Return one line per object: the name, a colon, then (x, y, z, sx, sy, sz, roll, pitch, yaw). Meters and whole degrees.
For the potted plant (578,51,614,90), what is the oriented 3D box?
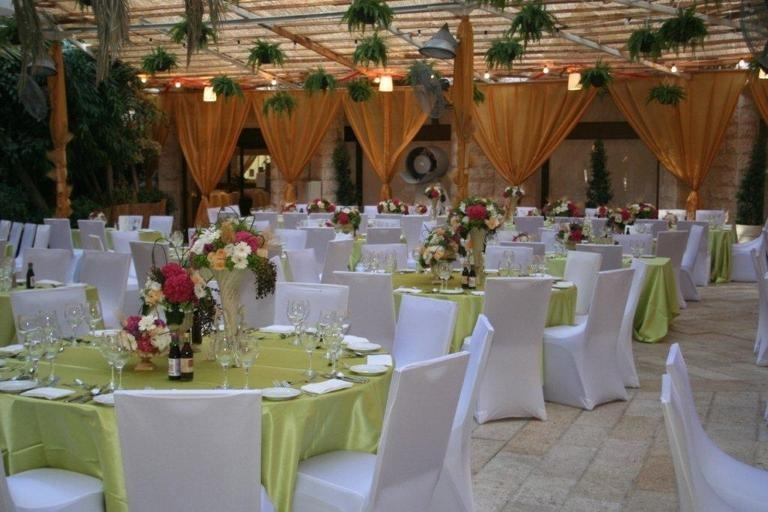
potted plant: (4.529, -3.828, 14.088, 0.685, 0.824, 0.716, 2, 6, 30)

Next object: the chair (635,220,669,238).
chair: (3.935, -0.395, 9.802, 0.345, 0.293, 0.355, 4, 7, 41)

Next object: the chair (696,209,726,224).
chair: (6.255, -0.738, 12.745, 0.444, 0.317, 0.476, 2, 6, 20)

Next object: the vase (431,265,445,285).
vase: (0.505, 0.181, 6.173, 0.142, 0.240, 0.146, -2, 5, 0)

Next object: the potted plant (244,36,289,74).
potted plant: (-2.211, -3.753, 12.268, 0.592, 0.603, 0.791, -1, 4, -16)

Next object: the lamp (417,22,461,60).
lamp: (0.855, -3.328, 10.171, 0.518, 0.608, 0.693, 1, 4, 12)

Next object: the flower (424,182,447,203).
flower: (0.930, -1.164, 12.068, 0.285, 0.334, 0.751, 1, 4, 9)

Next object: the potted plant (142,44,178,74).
potted plant: (-4.434, -3.894, 13.081, 0.610, 0.596, 1.111, -2, 4, -20)

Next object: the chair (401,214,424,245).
chair: (0.467, -0.439, 11.065, 0.491, 0.642, 0.453, 0, 4, 1)

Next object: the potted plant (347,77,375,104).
potted plant: (-0.520, -3.665, 14.893, 0.510, 0.446, 0.547, 2, 13, 0)

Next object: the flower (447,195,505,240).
flower: (0.869, -0.351, 6.295, 0.499, 0.388, 0.389, 1, 4, 11)

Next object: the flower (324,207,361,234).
flower: (-0.619, -0.528, 10.607, 0.483, 0.521, 0.478, 3, -1, -41)

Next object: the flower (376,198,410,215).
flower: (0.134, -0.929, 12.928, 0.461, 0.260, 0.493, 2, 3, 23)

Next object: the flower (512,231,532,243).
flower: (1.803, -0.225, 8.624, 0.180, 0.109, 0.191, 1, 4, 41)

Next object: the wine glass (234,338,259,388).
wine glass: (-0.772, 0.609, 3.730, 0.128, 0.376, 0.140, -4, 19, -14)

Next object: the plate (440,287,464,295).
plate: (0.614, 0.321, 5.983, 0.220, 0.032, 0.274, 0, 4, 8)

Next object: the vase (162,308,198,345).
vase: (-1.217, 0.408, 4.050, 0.193, 0.253, 0.200, -5, 8, -43)

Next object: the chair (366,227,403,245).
chair: (0.000, -0.277, 9.321, 0.475, 0.210, 0.170, -1, 4, -8)

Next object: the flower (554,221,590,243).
flower: (2.433, -0.284, 8.460, 0.576, 0.275, 0.318, -3, 5, -41)

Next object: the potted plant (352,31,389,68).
potted plant: (-0.248, -3.663, 11.607, 0.573, 0.691, 1.276, 0, 4, -4)

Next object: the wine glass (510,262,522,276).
wine glass: (1.331, 0.137, 6.594, 0.119, 0.172, 0.154, 0, 2, -7)

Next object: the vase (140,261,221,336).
vase: (-1.228, 0.218, 4.087, 0.368, 0.429, 0.383, 8, 6, -2)

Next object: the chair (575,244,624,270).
chair: (2.493, -0.002, 7.649, 0.487, 0.551, 0.285, 1, 1, 18)

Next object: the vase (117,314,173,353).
vase: (-1.374, 0.467, 3.822, 0.214, 0.171, 0.233, 11, -1, 15)

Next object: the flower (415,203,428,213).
flower: (0.744, -0.912, 13.172, 0.193, 0.182, 0.218, 3, 9, 2)

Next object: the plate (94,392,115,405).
plate: (-1.484, 0.764, 3.509, 0.095, 0.041, 0.187, -2, 4, -26)

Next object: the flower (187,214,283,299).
flower: (-0.888, -0.042, 4.073, 0.451, 0.456, 0.483, 10, 10, 10)

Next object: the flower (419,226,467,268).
flower: (0.553, -0.062, 6.287, 0.359, 0.323, 0.384, -5, 3, -16)

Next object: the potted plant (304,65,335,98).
potted plant: (-1.347, -3.707, 13.912, 0.658, 0.556, 0.523, 4, 6, 41)

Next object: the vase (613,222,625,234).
vase: (3.687, -0.431, 10.396, 0.194, 0.129, 0.428, 1, 4, 14)

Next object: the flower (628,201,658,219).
flower: (4.483, -0.764, 11.576, 0.368, 0.244, 0.996, 2, 4, 32)

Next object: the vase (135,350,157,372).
vase: (-1.421, 0.636, 3.960, 0.113, 0.120, 0.115, 11, 13, 43)

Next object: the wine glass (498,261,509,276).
wine glass: (1.153, 0.131, 6.405, 0.104, 0.137, 0.112, 1, 3, 9)

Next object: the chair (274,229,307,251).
chair: (-1.097, -0.179, 7.849, 0.351, 0.266, 0.376, 5, 14, -1)

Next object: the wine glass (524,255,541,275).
wine glass: (1.438, 0.097, 6.405, 0.149, 0.194, 0.161, 1, 7, 12)

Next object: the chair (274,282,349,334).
chair: (-0.575, 0.337, 4.839, 0.374, 0.570, 0.418, 2, -5, 8)

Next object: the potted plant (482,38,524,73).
potted plant: (2.141, -3.650, 11.946, 0.685, 0.609, 0.739, 0, 19, 3)

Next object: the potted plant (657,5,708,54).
potted plant: (4.559, -3.512, 10.172, 0.657, 0.736, 1.020, 1, 4, 16)

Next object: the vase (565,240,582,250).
vase: (2.357, -0.121, 8.384, 0.140, 0.122, 0.162, 0, -1, 1)

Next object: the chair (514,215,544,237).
chair: (2.326, -0.455, 10.647, 0.402, 0.444, 0.226, 3, 14, 12)
